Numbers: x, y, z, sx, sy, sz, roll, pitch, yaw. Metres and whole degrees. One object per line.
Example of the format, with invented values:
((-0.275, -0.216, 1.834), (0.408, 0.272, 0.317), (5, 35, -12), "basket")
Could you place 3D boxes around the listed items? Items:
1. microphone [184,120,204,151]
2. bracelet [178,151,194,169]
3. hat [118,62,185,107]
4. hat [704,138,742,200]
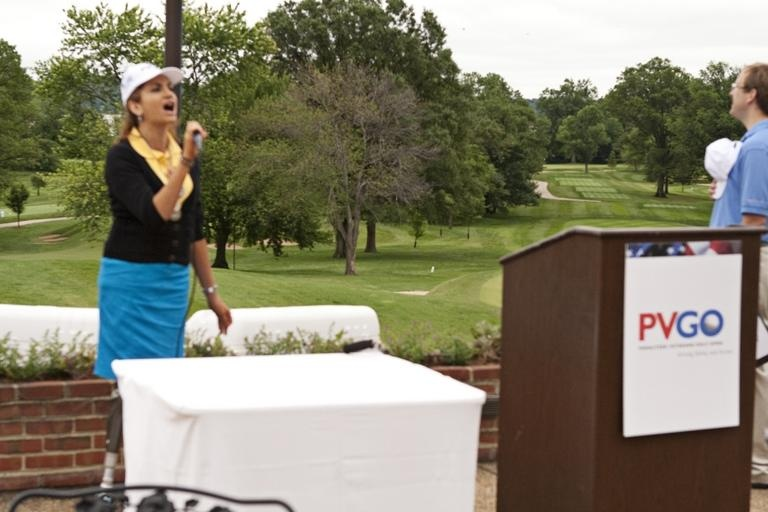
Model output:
((-0.940, -0.614, 3.467), (0.085, 0.158, 0.042), (-22, 9, 9), "microphone")
((-0.990, -0.486, 3.500), (0.078, 0.091, 0.081), (-2, 3, -17), "bracelet")
((-1.289, -0.968, 3.875), (0.250, 0.275, 0.396), (0, 3, 23), "hat")
((2.372, -0.627, 4.770), (0.204, 0.423, 0.309), (8, 4, -17), "hat")
